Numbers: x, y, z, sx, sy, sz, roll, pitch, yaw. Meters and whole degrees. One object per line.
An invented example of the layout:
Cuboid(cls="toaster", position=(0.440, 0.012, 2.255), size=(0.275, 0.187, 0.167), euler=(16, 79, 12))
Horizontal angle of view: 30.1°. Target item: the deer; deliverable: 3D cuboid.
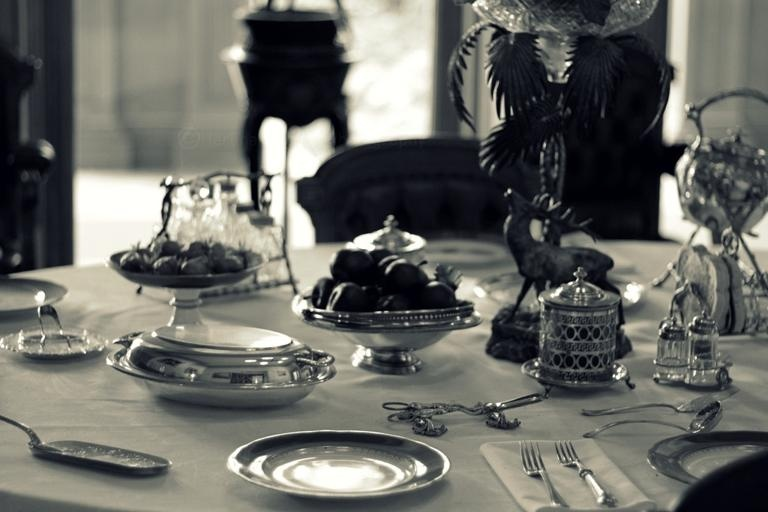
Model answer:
Cuboid(cls="deer", position=(0.331, 0.005, 3.025), size=(0.226, 0.285, 0.359), euler=(2, 0, 5))

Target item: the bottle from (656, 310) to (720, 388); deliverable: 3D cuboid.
Cuboid(cls="bottle", position=(0.624, 0.193, 2.893), size=(0.131, 0.141, 0.116), euler=(0, 1, 31))
